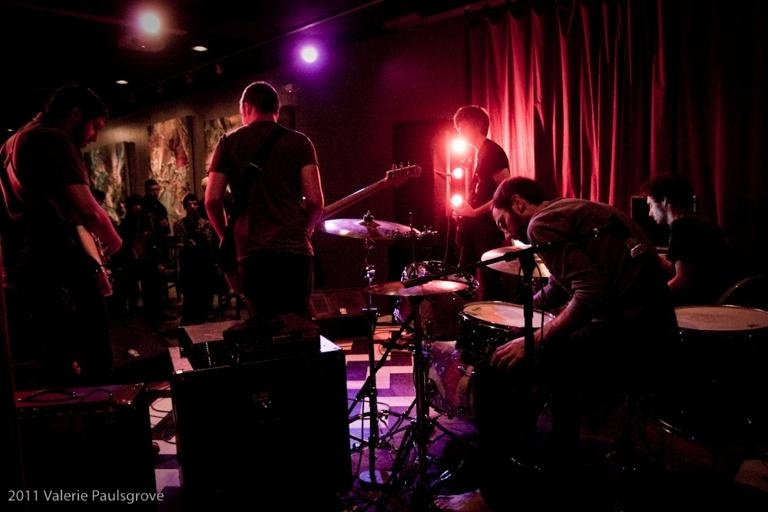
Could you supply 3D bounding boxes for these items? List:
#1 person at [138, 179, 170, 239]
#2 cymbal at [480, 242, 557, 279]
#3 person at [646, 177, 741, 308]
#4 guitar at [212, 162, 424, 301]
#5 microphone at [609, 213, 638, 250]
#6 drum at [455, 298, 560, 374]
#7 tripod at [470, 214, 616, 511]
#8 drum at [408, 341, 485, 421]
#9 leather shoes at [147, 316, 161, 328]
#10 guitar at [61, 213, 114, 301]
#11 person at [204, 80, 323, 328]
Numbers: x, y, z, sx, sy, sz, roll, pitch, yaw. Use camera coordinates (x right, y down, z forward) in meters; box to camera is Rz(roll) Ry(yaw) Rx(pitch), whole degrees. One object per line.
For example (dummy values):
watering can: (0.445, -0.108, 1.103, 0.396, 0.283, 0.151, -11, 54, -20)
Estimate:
person: (-3.081, -0.665, 8.396, 0.287, 0.960, 1.134, -5, -2, -19)
cymbal: (0.982, 0.022, 4.489, 0.353, 0.082, 0.348, 8, 36, 20)
person: (2.423, -0.179, 5.001, 0.700, 0.988, 0.736, -13, 5, 40)
guitar: (-0.505, -0.180, 5.397, 2.012, 0.725, 0.274, -26, 46, -10)
microphone: (1.434, -0.129, 3.718, 0.069, 0.241, 0.170, -41, 18, 44)
drum: (0.802, 0.553, 4.250, 0.507, 0.293, 0.464, -2, 2, 0)
tripod: (0.960, 0.626, 3.943, 0.965, 1.743, 0.968, -5, -3, -18)
drum: (0.482, 0.904, 4.501, 0.423, 0.530, 0.211, 2, 13, 41)
leather shoes: (-2.844, 0.820, 7.708, 0.174, 0.163, 0.382, -5, -2, -21)
guitar: (-1.968, 0.007, 4.203, 0.220, 0.517, 0.164, -3, 11, 39)
person: (-0.818, -0.094, 4.494, 0.788, 2.234, 0.587, -1, 3, 5)
